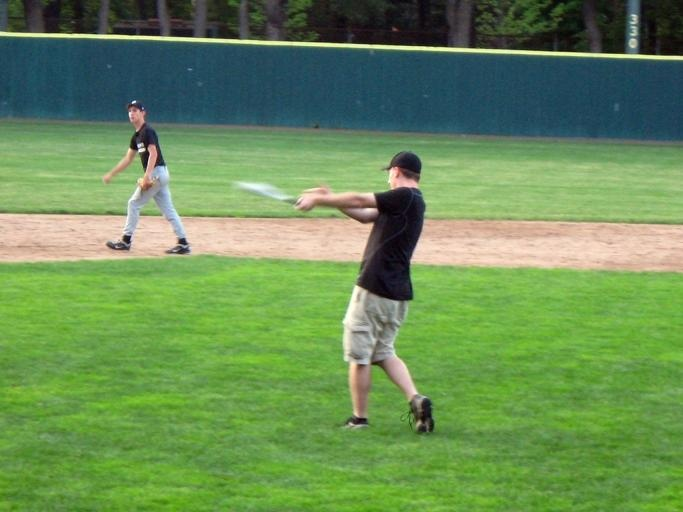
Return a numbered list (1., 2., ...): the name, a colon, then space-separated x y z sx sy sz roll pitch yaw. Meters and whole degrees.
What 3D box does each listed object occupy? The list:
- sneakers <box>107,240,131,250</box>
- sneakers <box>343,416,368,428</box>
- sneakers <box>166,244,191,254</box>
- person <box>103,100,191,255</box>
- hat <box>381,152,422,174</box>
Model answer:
1. sneakers: -4.358 -0.209 26.763 0.495 0.187 0.159 4 49 -24
2. sneakers: 0.208 2.550 21.487 0.428 0.132 0.144 3 1 3
3. sneakers: -3.175 -0.119 26.950 0.501 0.169 0.172 4 1 -2
4. person: -3.787 -1.463 26.652 1.270 2.909 1.052 -6 10 -42
5. hat: 0.930 -1.439 21.381 0.543 0.267 0.362 22 17 11
